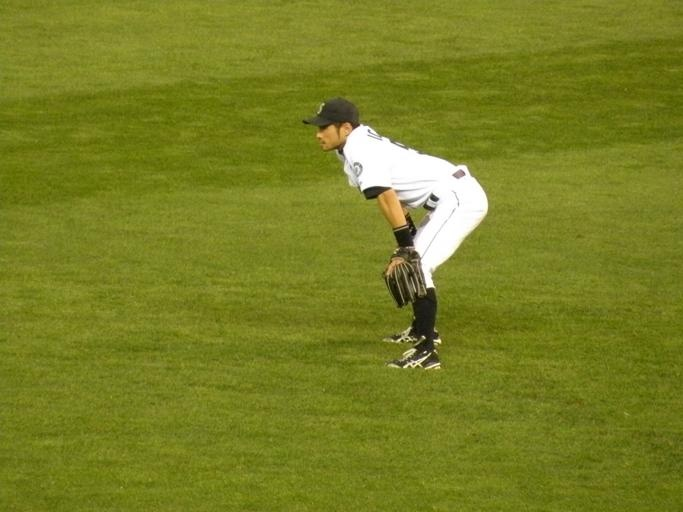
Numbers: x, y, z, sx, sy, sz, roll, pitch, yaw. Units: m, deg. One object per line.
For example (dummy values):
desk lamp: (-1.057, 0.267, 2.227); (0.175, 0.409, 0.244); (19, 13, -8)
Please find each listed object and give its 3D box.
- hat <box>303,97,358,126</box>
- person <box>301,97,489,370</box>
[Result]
hat: (-0.123, -1.401, 16.005); (0.416, 0.218, 0.270); (2, 7, -4)
person: (0.541, -0.192, 15.999); (1.516, 2.415, 0.826); (3, 23, 4)
